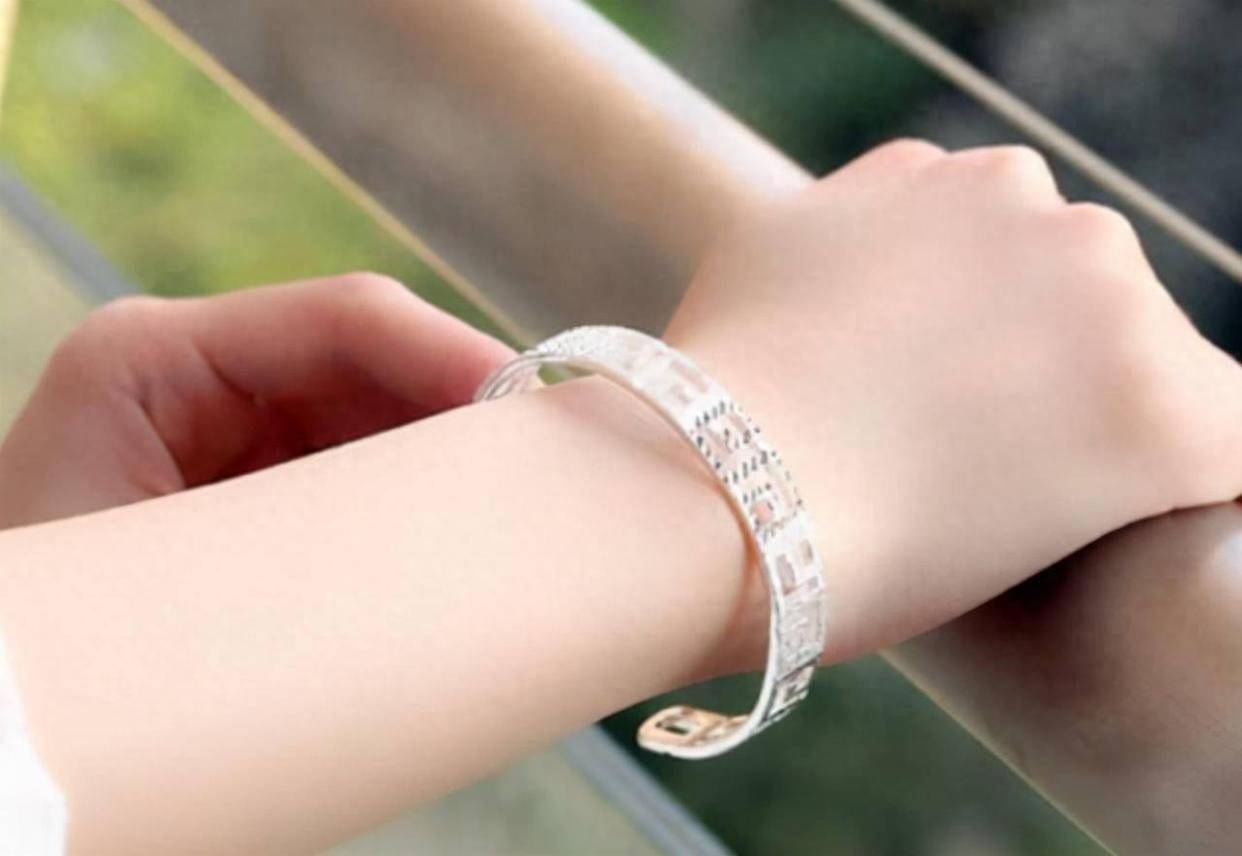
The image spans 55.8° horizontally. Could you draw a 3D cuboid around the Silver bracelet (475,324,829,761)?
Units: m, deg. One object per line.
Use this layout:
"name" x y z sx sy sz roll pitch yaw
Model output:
"Silver bracelet" 0.038 0.081 0.620 0.057 0.214 0.223 -25 52 -27
